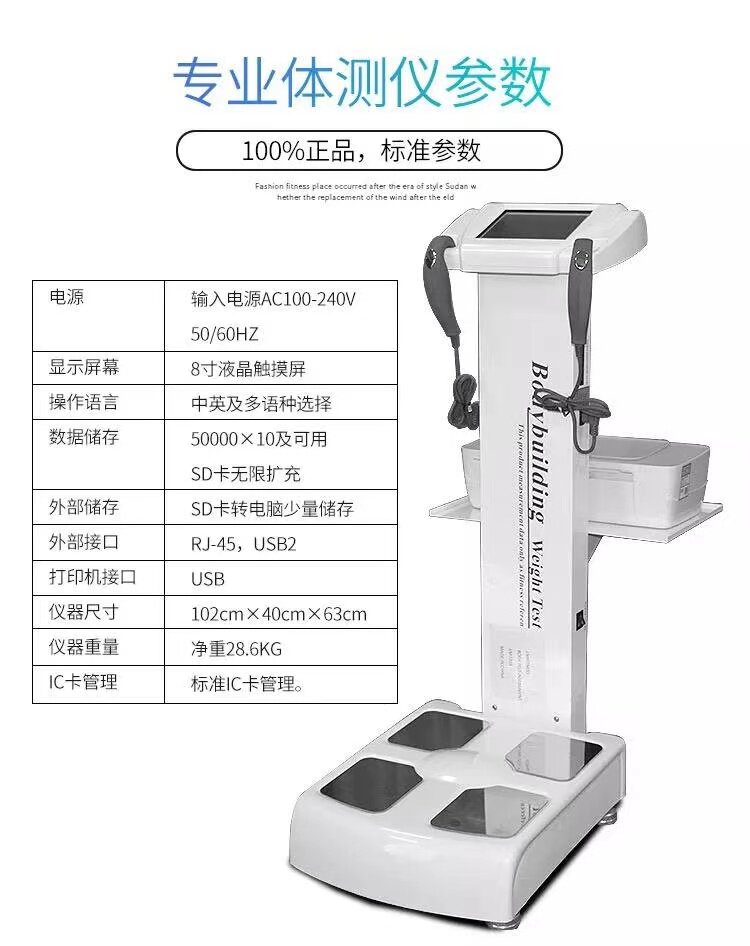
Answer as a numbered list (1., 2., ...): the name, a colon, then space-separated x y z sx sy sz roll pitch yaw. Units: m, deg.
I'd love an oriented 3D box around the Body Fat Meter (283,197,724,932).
1. Body Fat Meter: 0.316 0.122 2.430 0.671 1.517 1.051 5 14 34
